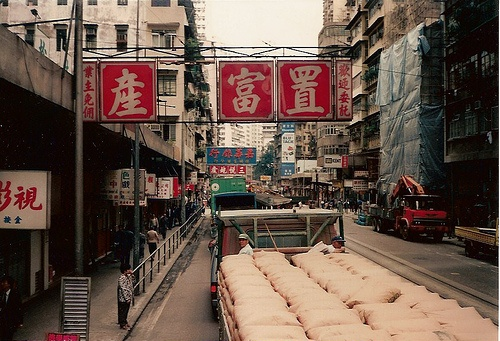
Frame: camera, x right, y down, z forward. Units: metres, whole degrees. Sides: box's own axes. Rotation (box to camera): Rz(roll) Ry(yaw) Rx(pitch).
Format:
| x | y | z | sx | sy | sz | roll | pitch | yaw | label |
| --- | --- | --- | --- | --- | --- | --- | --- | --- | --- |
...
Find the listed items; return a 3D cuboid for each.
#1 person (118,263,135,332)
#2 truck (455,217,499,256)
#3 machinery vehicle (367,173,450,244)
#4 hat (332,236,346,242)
| x | y | z | sx | sy | sz | roll | pitch | yaw | label |
| --- | --- | --- | --- | --- | --- | --- | --- | --- | --- |
| -4.442 | 4.491 | 17.366 | 0.494 | 2.221 | 0.612 | 0 | -3 | -16 | person |
| 12.035 | 3.778 | 25.638 | 1.170 | 1.193 | 1.868 | 1 | -1 | -27 | truck |
| 10.961 | 2.836 | 35.313 | 2.772 | 3.931 | 8.036 | 1 | -1 | -7 | machinery vehicle |
| 2.851 | 2.246 | 15.911 | 0.290 | 0.138 | 0.209 | -7 | -9 | 43 | hat |
